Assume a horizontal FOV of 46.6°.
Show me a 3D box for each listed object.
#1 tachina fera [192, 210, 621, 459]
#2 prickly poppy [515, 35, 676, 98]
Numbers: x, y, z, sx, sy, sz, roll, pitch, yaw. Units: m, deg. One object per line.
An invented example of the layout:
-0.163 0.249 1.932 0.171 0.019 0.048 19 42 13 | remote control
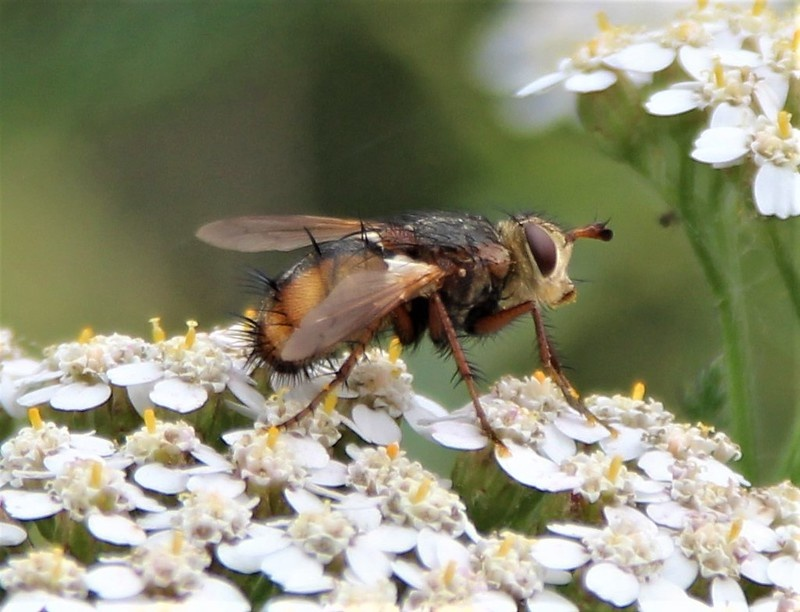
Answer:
0.049 -0.003 3.341 1.508 0.626 1.210 -1 24 -16 | tachina fera
0.710 -0.835 3.300 0.447 0.210 0.081 2 28 -23 | prickly poppy
